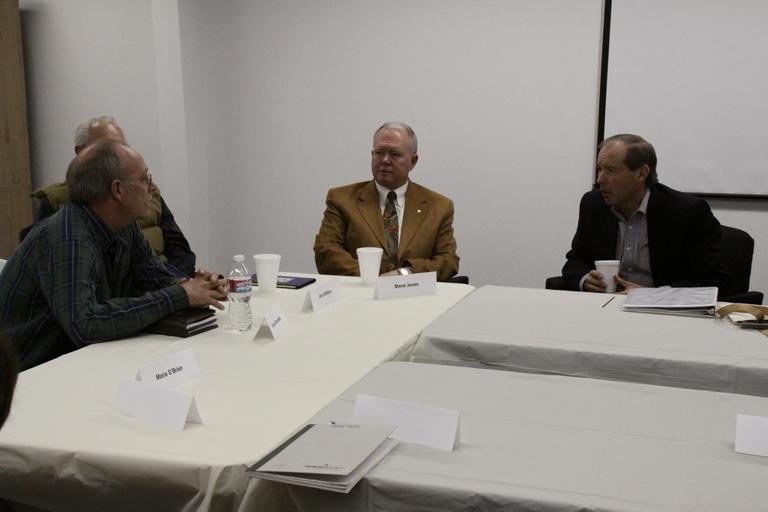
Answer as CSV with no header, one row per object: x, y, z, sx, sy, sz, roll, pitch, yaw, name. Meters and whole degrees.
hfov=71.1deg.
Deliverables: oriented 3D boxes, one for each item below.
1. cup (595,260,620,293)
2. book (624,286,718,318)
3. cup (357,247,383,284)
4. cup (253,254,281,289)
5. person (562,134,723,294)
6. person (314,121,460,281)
1.154,0.108,2.877,0.145,0.180,0.152,-1,0,0,cup
1.192,0.191,2.258,0.209,0.055,0.217,0,9,33,book
-0.075,0.047,2.807,0.149,0.181,0.158,0,4,0,cup
-0.547,0.078,2.626,0.137,0.170,0.147,0,-1,0,cup
1.470,-0.242,3.077,0.831,0.891,0.524,6,15,33,person
0.002,-0.329,3.310,0.879,0.958,0.573,-3,12,-3,person
